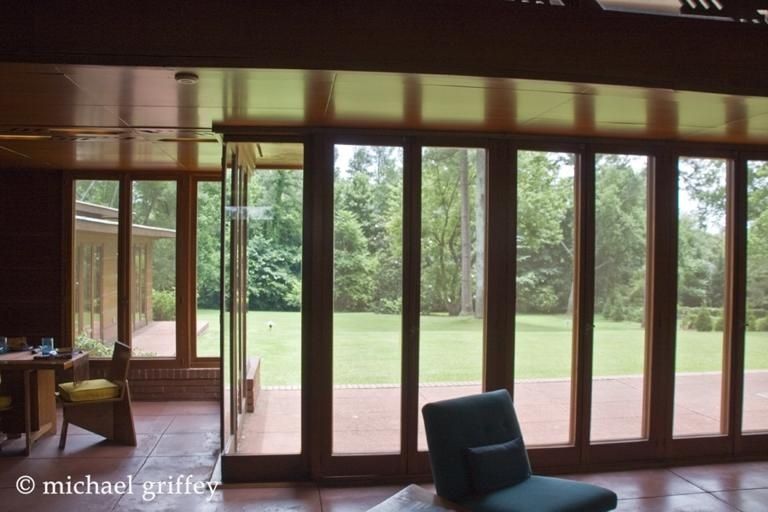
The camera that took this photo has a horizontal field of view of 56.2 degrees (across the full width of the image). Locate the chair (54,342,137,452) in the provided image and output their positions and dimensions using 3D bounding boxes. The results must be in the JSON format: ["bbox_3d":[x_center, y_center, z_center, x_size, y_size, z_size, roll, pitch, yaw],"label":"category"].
[{"bbox_3d":[-3.412,1.656,8.455,0.858,1.115,0.621,-4,13,-18],"label":"chair"}]
